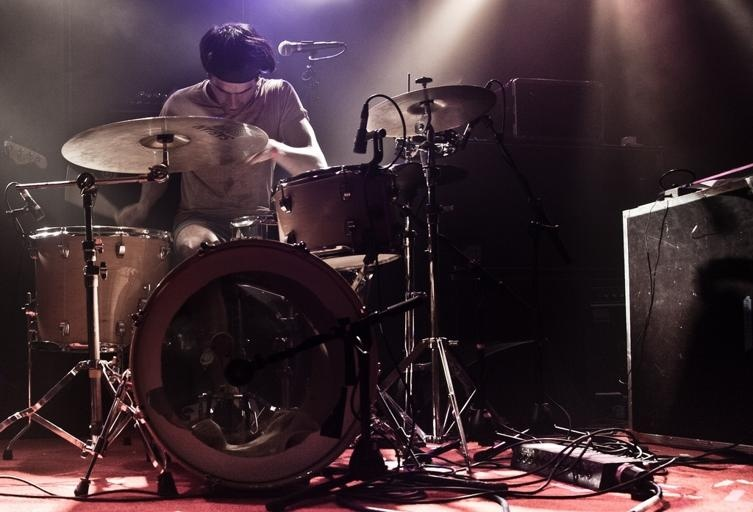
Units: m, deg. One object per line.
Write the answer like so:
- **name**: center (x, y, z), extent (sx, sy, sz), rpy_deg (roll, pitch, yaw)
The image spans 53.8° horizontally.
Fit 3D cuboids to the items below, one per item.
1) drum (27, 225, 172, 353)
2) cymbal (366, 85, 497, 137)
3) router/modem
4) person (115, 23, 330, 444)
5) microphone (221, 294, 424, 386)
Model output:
- **drum**: center (-1.591, 0.157, 4.335), extent (0.784, 0.609, 0.768), rpy_deg (-2, -12, -1)
- **cymbal**: center (0.356, -0.915, 4.601), extent (0.574, 0.134, 0.570), rpy_deg (-11, -16, -8)
- **router/modem**: center (1.015, 1.065, 3.779), extent (0.432, 0.181, 0.679), rpy_deg (3, -3, -33)
- **person**: center (-0.999, -0.464, 4.737), extent (1.185, 1.843, 1.059), rpy_deg (-9, 12, -44)
- **microphone**: center (-0.312, 0.441, 3.828), extent (1.255, 0.203, 0.211), rpy_deg (-19, -8, -19)
